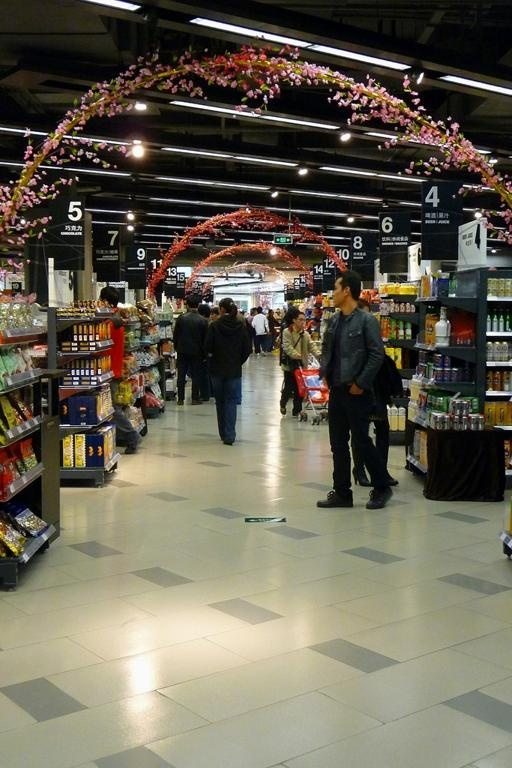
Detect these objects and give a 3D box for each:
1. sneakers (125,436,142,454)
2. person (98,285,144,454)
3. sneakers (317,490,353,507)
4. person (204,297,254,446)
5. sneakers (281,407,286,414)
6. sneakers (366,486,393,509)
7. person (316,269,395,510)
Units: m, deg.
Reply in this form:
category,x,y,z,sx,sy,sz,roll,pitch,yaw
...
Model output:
category,x,y,z,sx,sy,sz,roll,pitch,yaw
sneakers,-1.550,0.762,7.119,0.142,0.286,0.290,10,13,-4
person,-1.643,-0.124,6.665,0.433,2.102,0.466,-8,27,-23
sneakers,0.673,0.985,4.778,0.328,0.146,0.125,3,-4,-5
person,-0.384,-0.196,7.617,0.580,2.072,0.561,0,-3,-4
sneakers,0.499,0.505,10.319,0.089,0.111,0.120,1,-1,0
sneakers,1.026,0.969,4.691,0.104,0.158,0.315,-10,-9,26
person,0.823,0.058,4.605,0.539,1.965,0.566,1,-3,-12
